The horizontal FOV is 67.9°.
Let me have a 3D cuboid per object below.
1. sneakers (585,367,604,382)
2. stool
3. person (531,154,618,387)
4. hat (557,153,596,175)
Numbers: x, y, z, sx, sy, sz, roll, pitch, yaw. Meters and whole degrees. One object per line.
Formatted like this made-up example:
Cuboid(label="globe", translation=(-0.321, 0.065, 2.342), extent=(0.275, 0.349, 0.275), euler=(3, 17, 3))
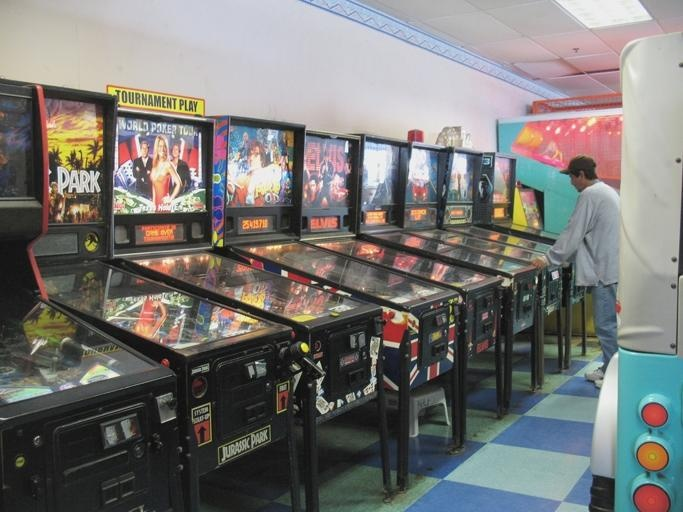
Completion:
Cuboid(label="sneakers", translation=(2.373, 1.128, 4.812), extent=(0.217, 0.095, 0.087), euler=(1, 1, 22))
Cuboid(label="stool", translation=(0.573, 1.074, 3.774), extent=(0.466, 0.309, 0.480), euler=(-2, -5, 41))
Cuboid(label="person", translation=(2.184, 0.138, 4.600), extent=(0.627, 2.143, 0.867), euler=(3, 6, 32))
Cuboid(label="hat", translation=(2.248, -0.876, 4.868), extent=(0.289, 0.153, 0.212), euler=(6, 13, 38))
